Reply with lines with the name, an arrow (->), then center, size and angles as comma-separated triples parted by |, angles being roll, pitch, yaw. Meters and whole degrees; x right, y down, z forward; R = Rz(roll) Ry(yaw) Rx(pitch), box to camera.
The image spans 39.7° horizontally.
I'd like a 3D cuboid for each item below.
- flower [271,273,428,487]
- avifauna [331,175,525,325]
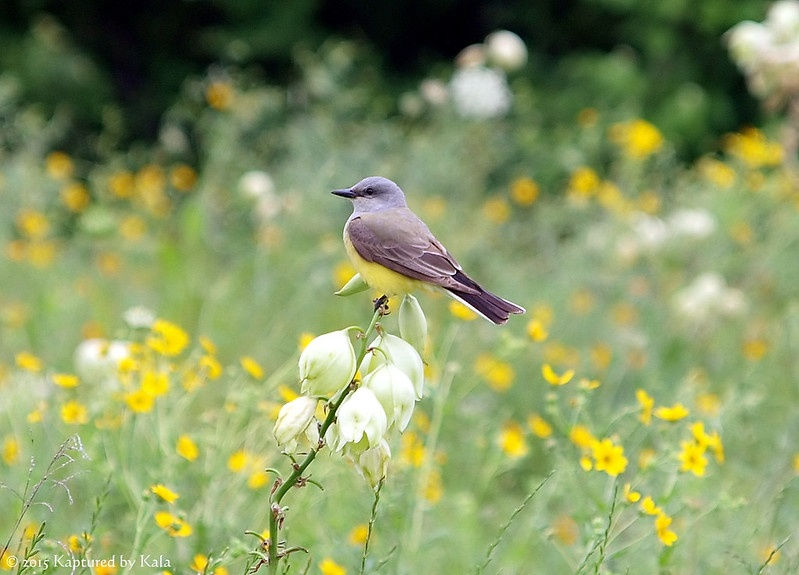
flower -> -0.219, 0.418, 5.125 | 0.729, 0.819, 0.583 | -1, -47, -8
avifauna -> 0.148, -0.191, 5.785 | 1.051, 0.395, 0.740 | 4, -91, 11
